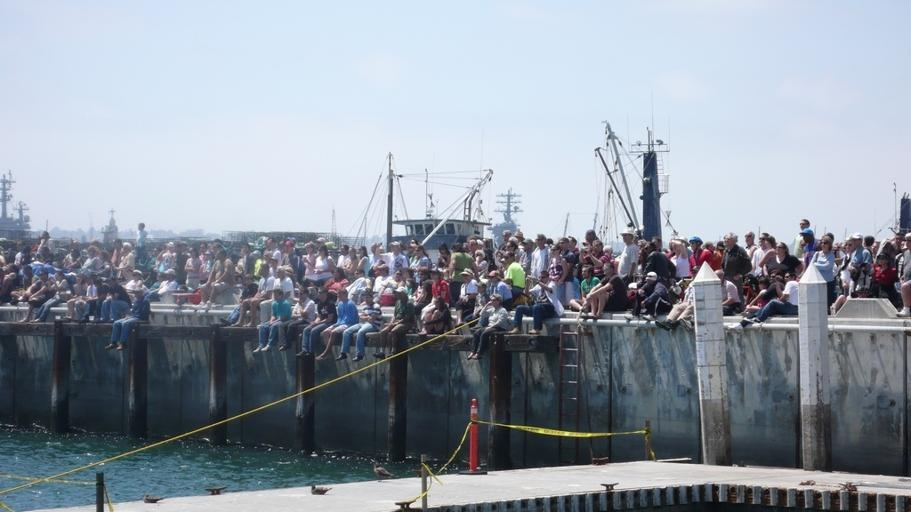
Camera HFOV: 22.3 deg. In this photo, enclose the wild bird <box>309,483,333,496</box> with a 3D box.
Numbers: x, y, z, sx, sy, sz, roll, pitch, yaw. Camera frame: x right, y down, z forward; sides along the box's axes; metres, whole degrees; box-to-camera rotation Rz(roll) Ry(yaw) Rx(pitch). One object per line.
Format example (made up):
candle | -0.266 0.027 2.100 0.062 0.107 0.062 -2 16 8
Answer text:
wild bird | -4.836 8.361 82.873 0.662 0.300 0.309 -1 8 13
